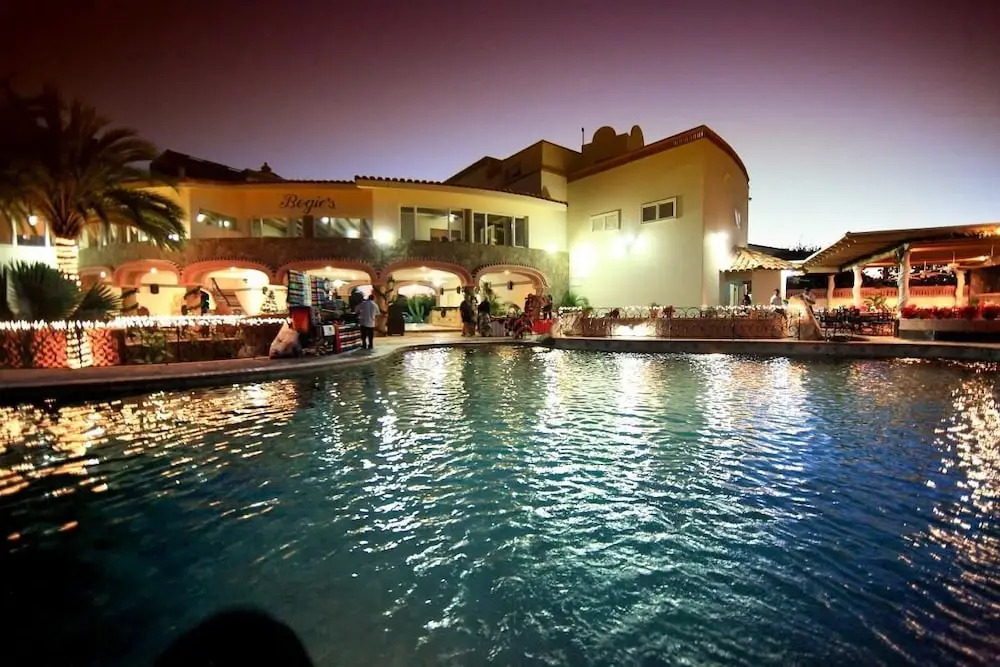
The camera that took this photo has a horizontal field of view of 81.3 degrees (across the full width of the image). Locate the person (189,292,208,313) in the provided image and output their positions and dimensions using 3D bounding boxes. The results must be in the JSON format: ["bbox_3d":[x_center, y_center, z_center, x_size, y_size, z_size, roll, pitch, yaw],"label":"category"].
[{"bbox_3d":[-13.535,-1.467,26.187,0.900,0.840,1.525,1,12,-32],"label":"person"}]
